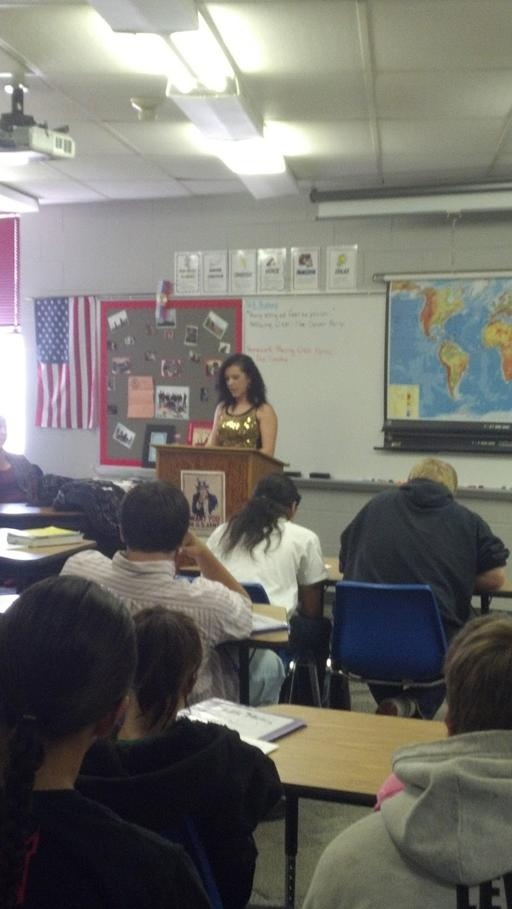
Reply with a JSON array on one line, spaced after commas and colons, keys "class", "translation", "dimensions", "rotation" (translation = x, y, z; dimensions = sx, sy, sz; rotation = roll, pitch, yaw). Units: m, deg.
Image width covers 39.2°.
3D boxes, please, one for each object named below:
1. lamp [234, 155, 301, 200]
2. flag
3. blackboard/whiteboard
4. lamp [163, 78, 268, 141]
[{"class": "lamp", "translation": [0.086, -1.836, 4.850], "dimensions": [0.240, 0.067, 0.268], "rotation": [-8, -17, 35]}, {"class": "flag", "translation": [-1.674, -0.809, 6.350], "dimensions": [0.676, 1.154, 0.083], "rotation": [3, 4, 25]}, {"class": "blackboard/whiteboard", "translation": [0.907, -0.424, 4.935], "dimensions": [1.399, 1.047, 0.064], "rotation": [2, 3, 20]}, {"class": "lamp", "translation": [-0.182, -1.723, 3.594], "dimensions": [0.323, 0.155, 0.707], "rotation": [2, 3, 11]}]
